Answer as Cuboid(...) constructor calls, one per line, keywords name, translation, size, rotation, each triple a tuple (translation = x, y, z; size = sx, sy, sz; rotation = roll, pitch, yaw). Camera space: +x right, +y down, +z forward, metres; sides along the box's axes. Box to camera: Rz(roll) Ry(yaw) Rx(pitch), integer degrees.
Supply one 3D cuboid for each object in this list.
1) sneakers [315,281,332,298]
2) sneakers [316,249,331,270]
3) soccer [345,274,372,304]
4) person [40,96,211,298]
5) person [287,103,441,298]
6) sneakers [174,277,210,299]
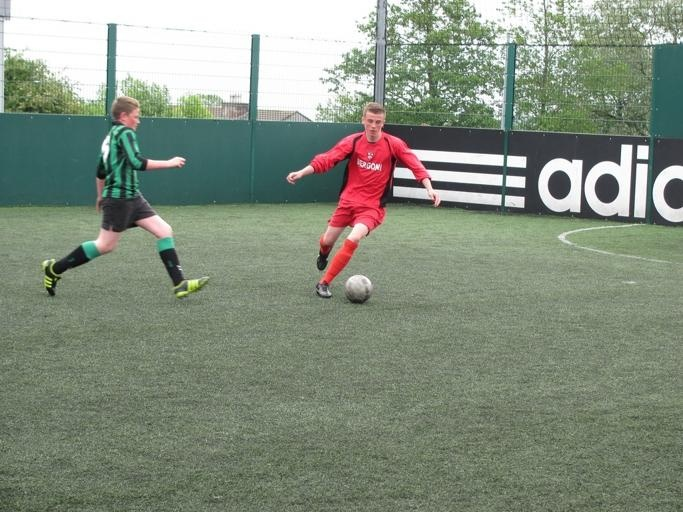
Cuboid(name="sneakers", translation=(-0.160, 0.312, 7.759), size=(0.141, 0.133, 0.206), rotation=(-2, 11, -12))
Cuboid(name="sneakers", translation=(-0.194, 0.016, 8.649), size=(0.089, 0.110, 0.267), rotation=(5, 46, 1))
Cuboid(name="soccer", translation=(0.165, 0.310, 7.625), size=(0.220, 0.290, 0.238), rotation=(3, -16, 10))
Cuboid(name="person", translation=(-1.961, -0.529, 7.490), size=(1.438, 1.794, 0.502), rotation=(2, 10, 7))
Cuboid(name="person", translation=(0.187, -0.571, 7.970), size=(1.127, 1.781, 0.921), rotation=(2, 10, 5))
Cuboid(name="sneakers", translation=(-1.367, 0.292, 7.469), size=(0.292, 0.218, 0.219), rotation=(-2, 11, -13))
